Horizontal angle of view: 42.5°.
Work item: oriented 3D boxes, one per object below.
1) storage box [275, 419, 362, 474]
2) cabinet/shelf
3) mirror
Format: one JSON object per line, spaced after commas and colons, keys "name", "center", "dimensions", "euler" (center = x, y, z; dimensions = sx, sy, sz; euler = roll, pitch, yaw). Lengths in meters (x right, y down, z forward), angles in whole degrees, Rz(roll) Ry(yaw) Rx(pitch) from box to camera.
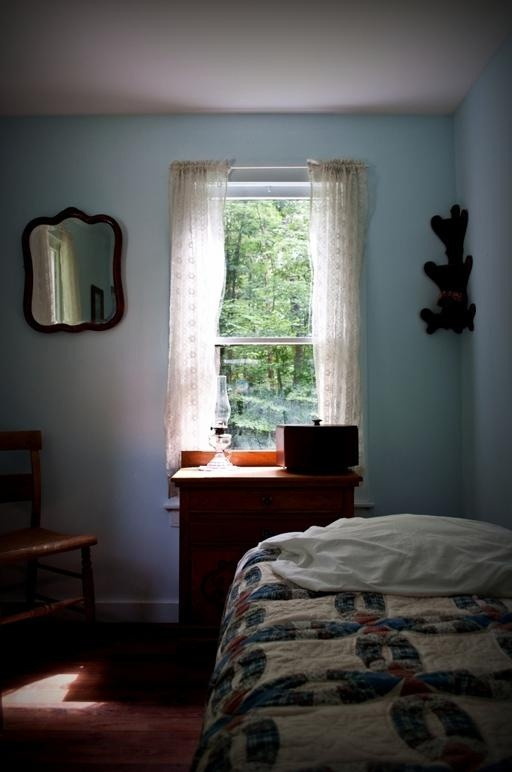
{"name": "storage box", "center": [0.239, 0.239, 2.628], "dimensions": [0.306, 0.203, 0.217], "euler": [1, -3, -9]}
{"name": "cabinet/shelf", "center": [0.022, 0.590, 2.661], "dimensions": [0.696, 0.675, 0.436], "euler": [1, 17, -4]}
{"name": "mirror", "center": [-0.814, -0.508, 2.953], "dimensions": [0.547, 0.659, 0.041], "euler": [-1, -1, -3]}
